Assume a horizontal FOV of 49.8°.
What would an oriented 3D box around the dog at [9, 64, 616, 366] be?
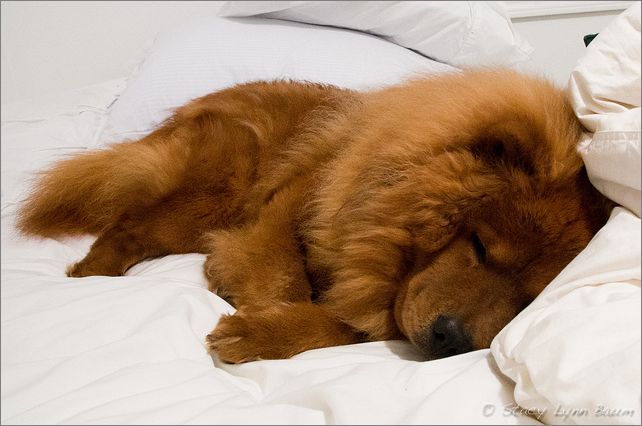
[{"bbox_3d":[-0.092,-0.004,3.454,2.499,1.142,1.407,11,12,43],"label":"dog"}]
